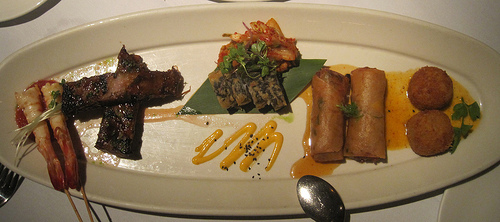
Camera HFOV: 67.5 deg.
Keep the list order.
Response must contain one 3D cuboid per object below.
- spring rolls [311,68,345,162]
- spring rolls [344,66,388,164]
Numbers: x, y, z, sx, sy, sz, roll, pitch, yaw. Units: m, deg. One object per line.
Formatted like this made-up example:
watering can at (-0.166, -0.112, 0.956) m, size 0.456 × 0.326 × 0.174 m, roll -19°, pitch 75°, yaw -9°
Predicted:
spring rolls at (2.057, 0.145, 9.716) m, size 0.892 × 2.480 × 0.589 m, roll 0°, pitch 8°, yaw 10°
spring rolls at (3.007, 0.024, 9.711) m, size 1.018 × 2.311 × 0.622 m, roll 0°, pitch 8°, yaw 14°
